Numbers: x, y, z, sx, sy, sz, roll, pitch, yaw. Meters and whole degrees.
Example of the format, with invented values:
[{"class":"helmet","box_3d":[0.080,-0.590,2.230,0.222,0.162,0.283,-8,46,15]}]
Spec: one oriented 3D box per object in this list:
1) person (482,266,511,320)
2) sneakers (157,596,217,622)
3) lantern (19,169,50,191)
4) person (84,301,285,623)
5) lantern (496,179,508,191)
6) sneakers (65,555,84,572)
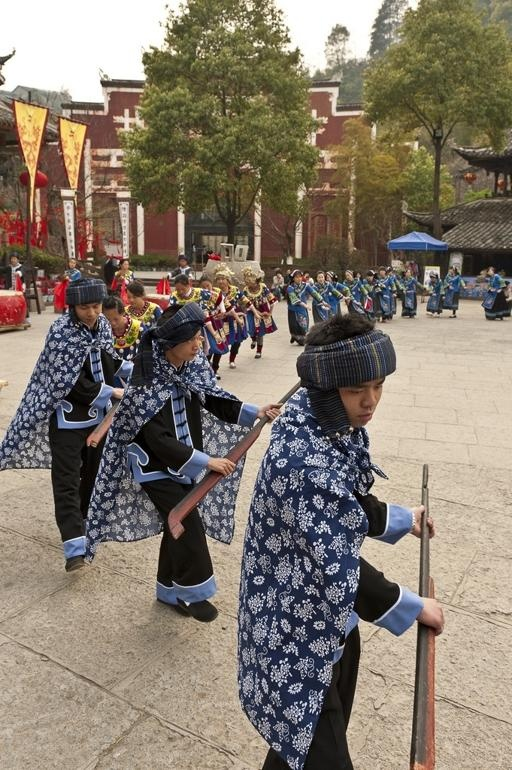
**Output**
[{"class":"person","box_3d":[6.152,-2.243,17.854,0.620,1.187,1.280,3,10,19]},{"class":"sneakers","box_3d":[-0.288,0.957,3.006,0.279,0.108,0.087,-9,-8,43]},{"class":"lantern","box_3d":[-4.644,-4.360,14.619,0.478,0.516,1.771,-4,9,-18]},{"class":"person","box_3d":[-0.264,0.357,2.912,0.881,1.316,0.585,-5,18,-24]},{"class":"lantern","box_3d":[10.295,-8.345,29.086,0.418,0.600,1.122,3,9,19]},{"class":"sneakers","box_3d":[-0.866,0.861,3.348,0.046,0.055,0.124,-13,-20,-43]}]
